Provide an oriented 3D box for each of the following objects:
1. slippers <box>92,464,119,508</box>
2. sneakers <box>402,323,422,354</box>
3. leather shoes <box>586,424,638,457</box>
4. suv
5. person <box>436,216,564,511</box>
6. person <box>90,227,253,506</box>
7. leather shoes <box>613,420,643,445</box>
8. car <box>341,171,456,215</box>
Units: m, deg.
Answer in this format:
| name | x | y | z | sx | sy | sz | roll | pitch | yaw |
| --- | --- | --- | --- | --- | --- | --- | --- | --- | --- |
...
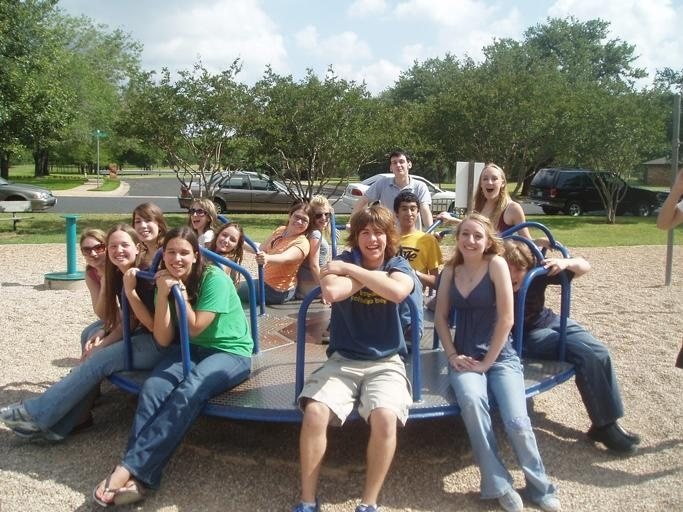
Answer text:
| name | x | y | z | sx | sy | sz | roll | pitch | yaw |
| --- | --- | --- | --- | --- | --- | --- | --- | --- | --- |
| slippers | -1.473 | 1.447 | 3.816 | 0.073 | 0.126 | 0.315 | -30 | 26 | 24 |
| sneakers | 0.503 | 0.606 | 4.139 | 0.101 | 0.363 | 0.154 | -2 | 49 | 3 |
| leather shoes | 1.997 | 1.344 | 4.407 | 0.309 | 0.152 | 0.174 | 5 | 25 | 42 |
| suv | 8.346 | -2.150 | 19.713 | 3.386 | 1.470 | 1.974 | -4 | 12 | -3 |
| person | 1.047 | 0.657 | 4.018 | 0.604 | 1.840 | 0.950 | -1 | 8 | -15 |
| person | -1.096 | 0.689 | 4.031 | 0.538 | 1.747 | 1.173 | 5 | 9 | 28 |
| leather shoes | 2.113 | 1.318 | 4.356 | 0.247 | 0.170 | 0.110 | 0 | 8 | -9 |
| car | 1.850 | -1.824 | 18.314 | 4.081 | 1.495 | 1.830 | -8 | 13 | -16 |
